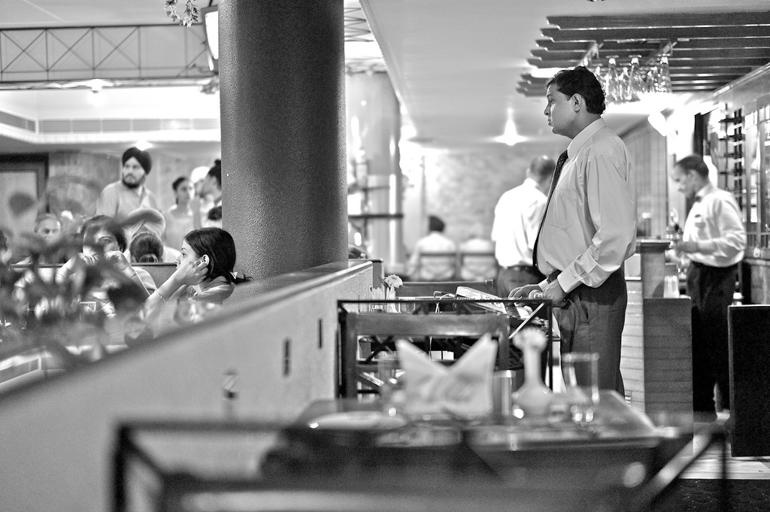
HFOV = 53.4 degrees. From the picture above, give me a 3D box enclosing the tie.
[{"bbox_3d":[0.675,-0.117,3.319,0.098,0.674,0.036,-9,28,-40],"label":"tie"}]
